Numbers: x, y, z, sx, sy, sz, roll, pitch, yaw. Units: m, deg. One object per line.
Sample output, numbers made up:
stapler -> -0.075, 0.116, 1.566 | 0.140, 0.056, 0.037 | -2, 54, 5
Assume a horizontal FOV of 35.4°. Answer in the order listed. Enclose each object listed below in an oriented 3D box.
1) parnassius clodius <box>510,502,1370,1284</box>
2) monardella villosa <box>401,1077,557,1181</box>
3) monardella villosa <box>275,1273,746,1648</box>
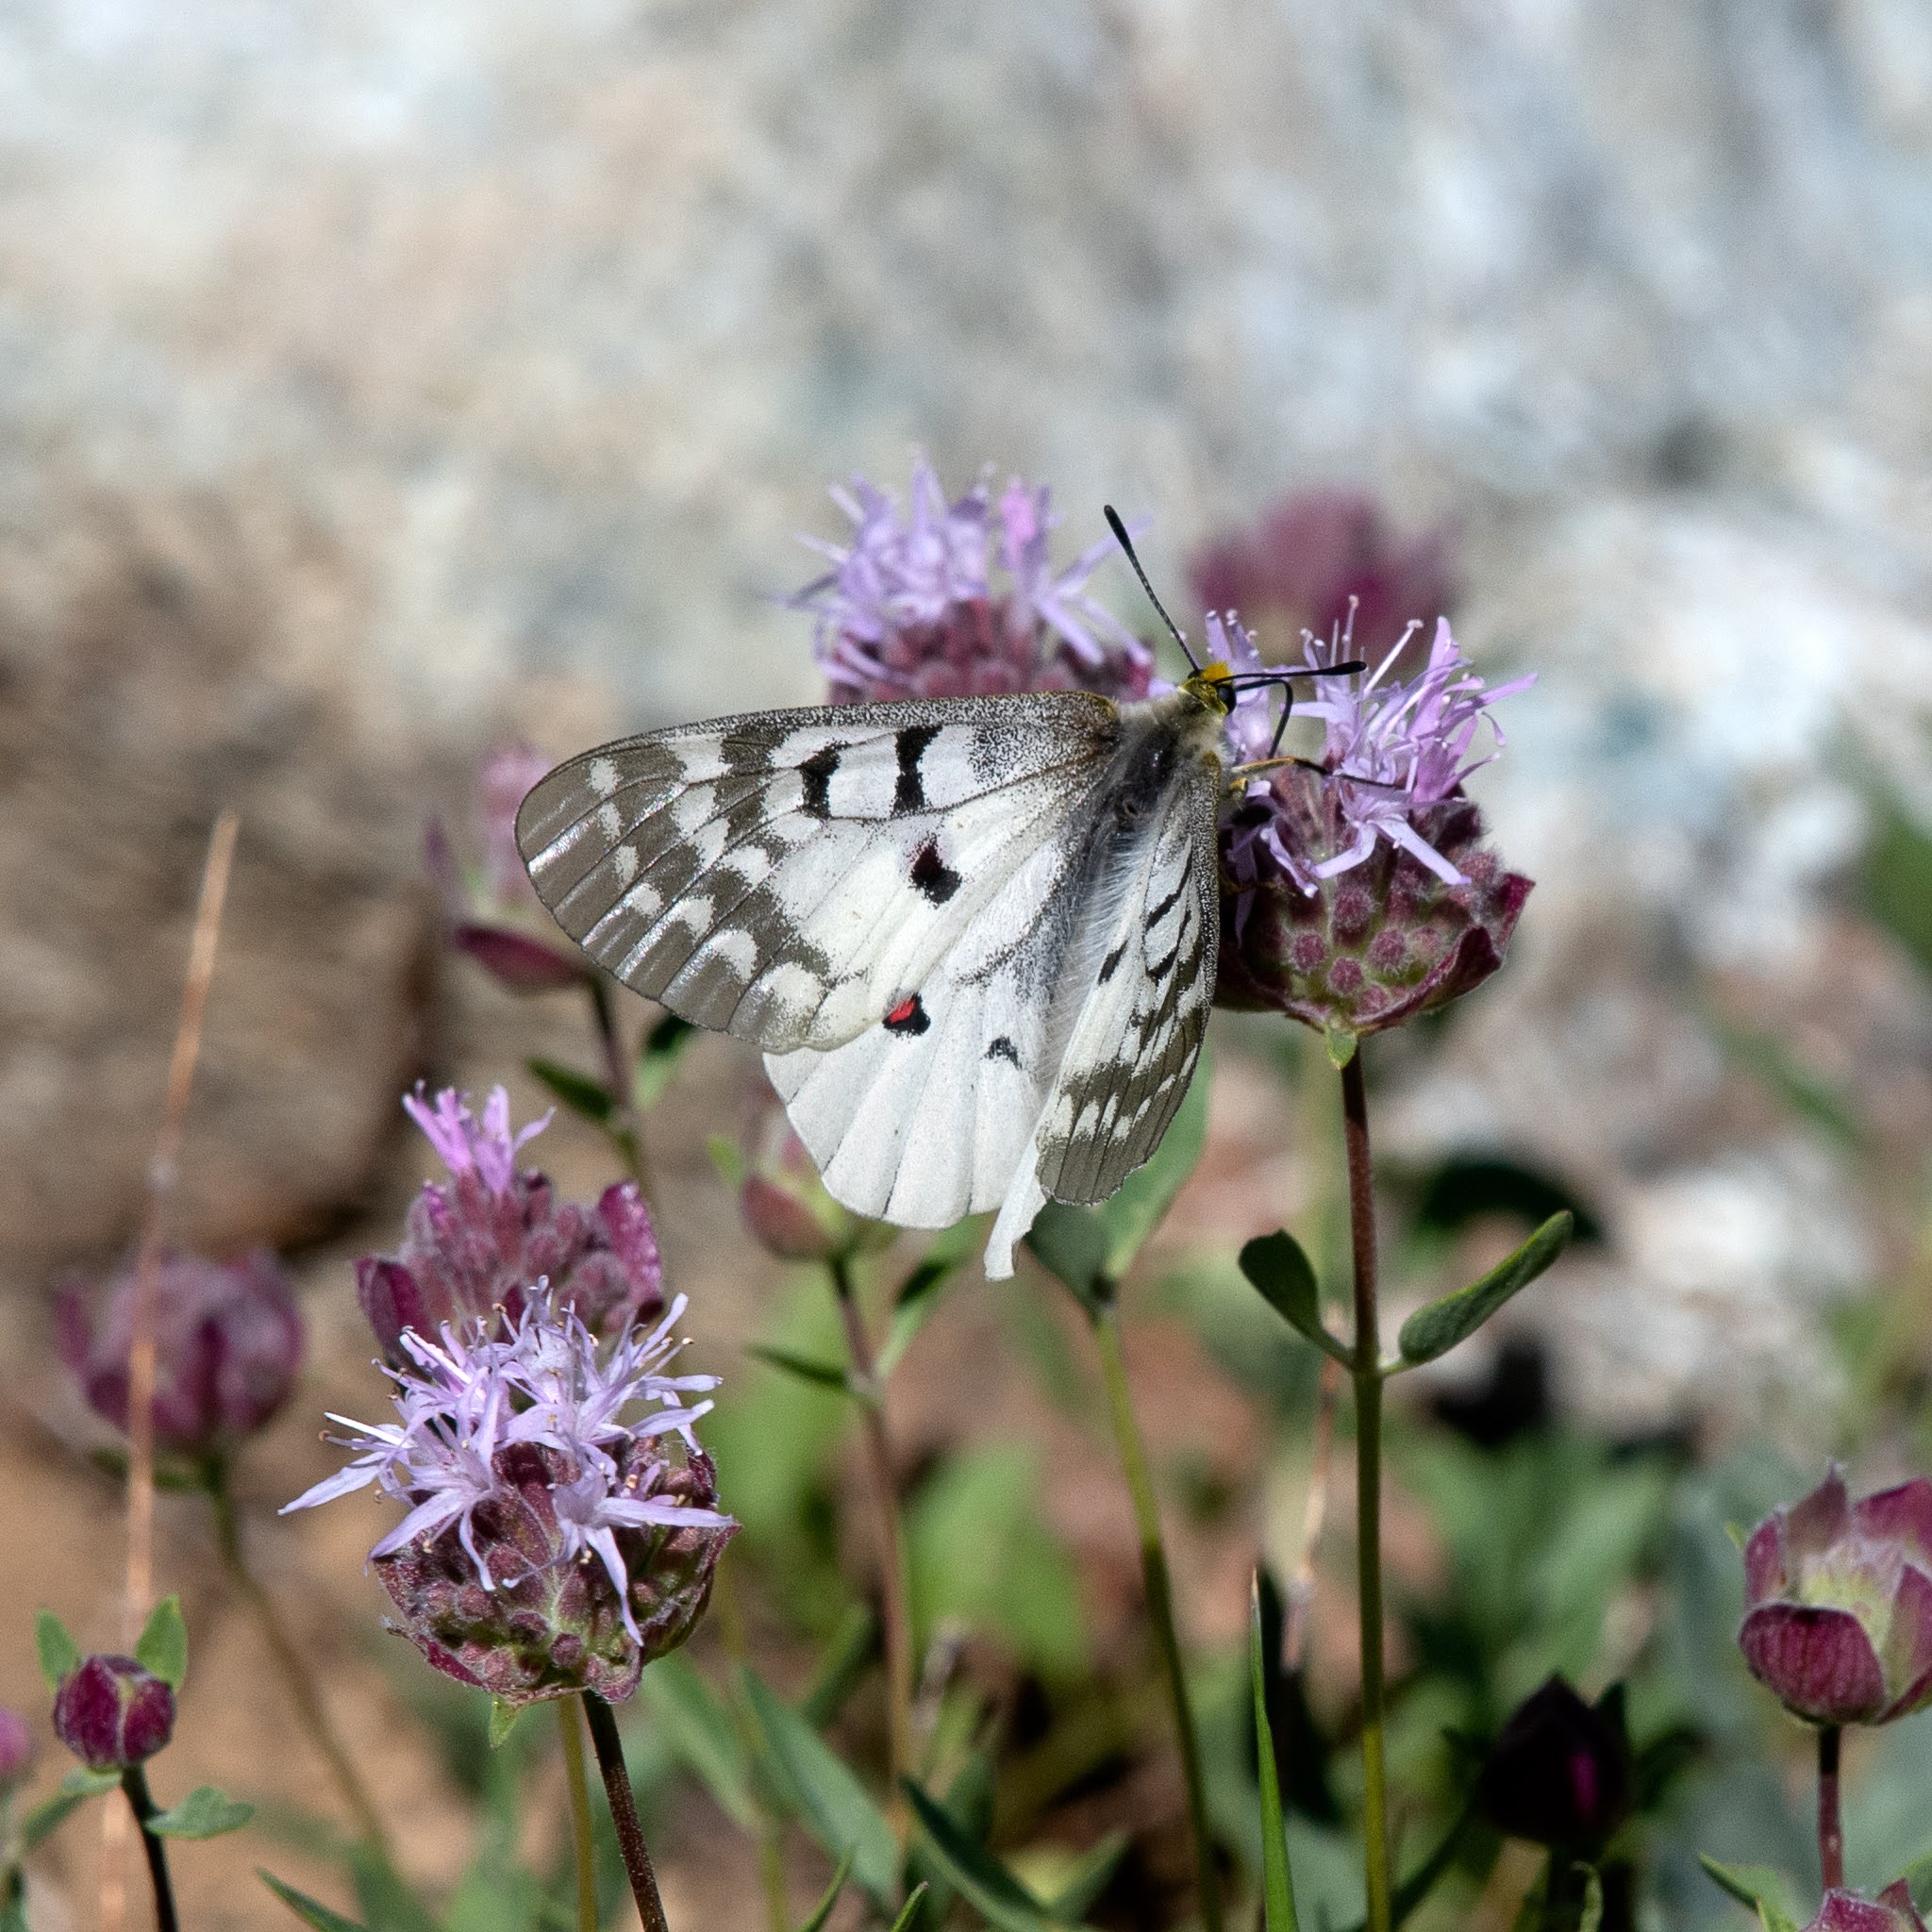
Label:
parnassius clodius -> -0.017, -0.008, 3.014 | 0.737, 0.518, 0.457 | -15, 40, -19
monardella villosa -> -0.460, 0.169, 2.853 | 0.115, 0.047, 0.118 | 23, 1, 8
monardella villosa -> -0.389, 0.430, 2.716 | 0.383, 0.263, 0.370 | 0, 37, -1
